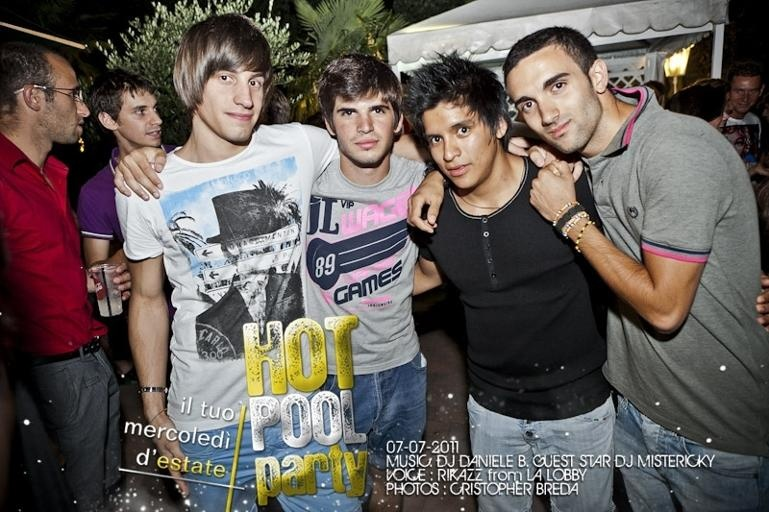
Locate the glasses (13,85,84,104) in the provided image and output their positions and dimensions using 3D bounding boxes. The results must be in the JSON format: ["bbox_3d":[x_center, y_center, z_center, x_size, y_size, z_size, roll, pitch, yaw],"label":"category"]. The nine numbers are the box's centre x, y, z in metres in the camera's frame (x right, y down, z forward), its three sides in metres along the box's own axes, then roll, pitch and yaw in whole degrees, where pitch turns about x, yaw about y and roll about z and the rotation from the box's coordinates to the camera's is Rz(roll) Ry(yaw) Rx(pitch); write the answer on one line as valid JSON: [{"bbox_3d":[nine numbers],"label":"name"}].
[{"bbox_3d":[-2.485,-1.270,4.373,0.123,0.145,0.390,0,16,24],"label":"glasses"}]

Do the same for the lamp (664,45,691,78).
[{"bbox_3d":[5.432,-3.672,10.536,0.481,0.553,0.500,-7,23,6],"label":"lamp"}]

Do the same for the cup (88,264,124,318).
[{"bbox_3d":[-2.124,0.271,4.345,0.177,0.453,0.253,-13,15,-27],"label":"cup"}]
